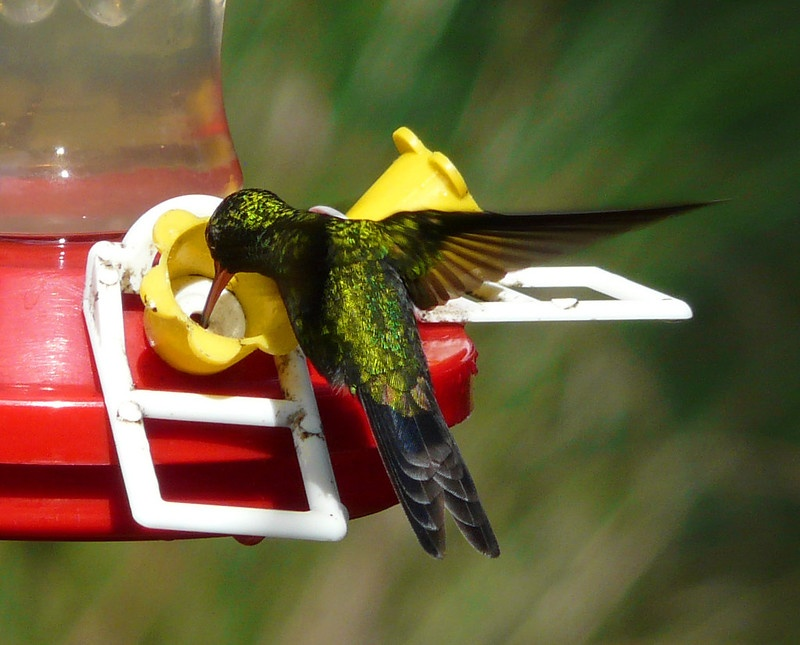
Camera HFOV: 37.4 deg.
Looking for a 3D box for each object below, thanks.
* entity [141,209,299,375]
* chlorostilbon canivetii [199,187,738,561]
[{"bbox_3d":[-0.231,-0.034,1.510,0.195,0.186,0.229,4,25,-12],"label":"entity"},{"bbox_3d":[0.060,0.045,1.630,0.668,0.327,0.646,-4,41,25],"label":"chlorostilbon canivetii"}]
